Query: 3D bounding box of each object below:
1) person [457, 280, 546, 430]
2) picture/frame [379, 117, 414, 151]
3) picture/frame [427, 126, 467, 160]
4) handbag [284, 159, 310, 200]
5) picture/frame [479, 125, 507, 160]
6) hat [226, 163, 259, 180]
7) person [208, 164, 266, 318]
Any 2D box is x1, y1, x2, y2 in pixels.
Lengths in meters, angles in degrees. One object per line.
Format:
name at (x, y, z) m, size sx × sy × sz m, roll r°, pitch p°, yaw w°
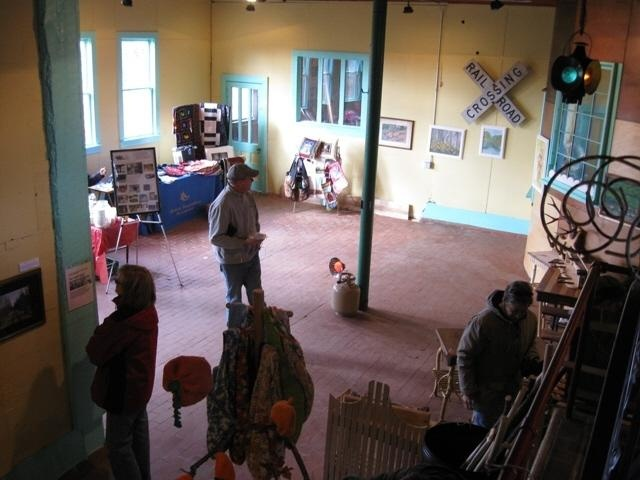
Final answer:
person at (1.451, 0.951, 3.920) m, size 0.665 × 1.371 × 0.389 m, roll 3°, pitch 14°, yaw 12°
picture/frame at (1.719, -2.363, 10.734) m, size 0.960 × 0.747 × 0.036 m, roll 16°, pitch 18°, yaw 24°
picture/frame at (2.755, -2.106, 10.412) m, size 0.659 × 0.567 × 0.070 m, roll 13°, pitch 27°, yaw 25°
handbag at (-0.531, -1.414, 11.147) m, size 0.429 × 0.977 × 0.380 m, roll -12°, pitch 18°, yaw -38°
picture/frame at (3.601, -2.051, 10.042) m, size 0.562 × 0.711 × 0.074 m, roll 15°, pitch 22°, yaw 28°
hat at (-0.873, -0.760, 5.590) m, size 0.306 × 0.133 × 0.211 m, roll -18°, pitch 30°, yaw -33°
person at (-1.005, -0.005, 5.807) m, size 0.617 × 1.781 × 0.428 m, roll -5°, pitch 15°, yaw -16°
